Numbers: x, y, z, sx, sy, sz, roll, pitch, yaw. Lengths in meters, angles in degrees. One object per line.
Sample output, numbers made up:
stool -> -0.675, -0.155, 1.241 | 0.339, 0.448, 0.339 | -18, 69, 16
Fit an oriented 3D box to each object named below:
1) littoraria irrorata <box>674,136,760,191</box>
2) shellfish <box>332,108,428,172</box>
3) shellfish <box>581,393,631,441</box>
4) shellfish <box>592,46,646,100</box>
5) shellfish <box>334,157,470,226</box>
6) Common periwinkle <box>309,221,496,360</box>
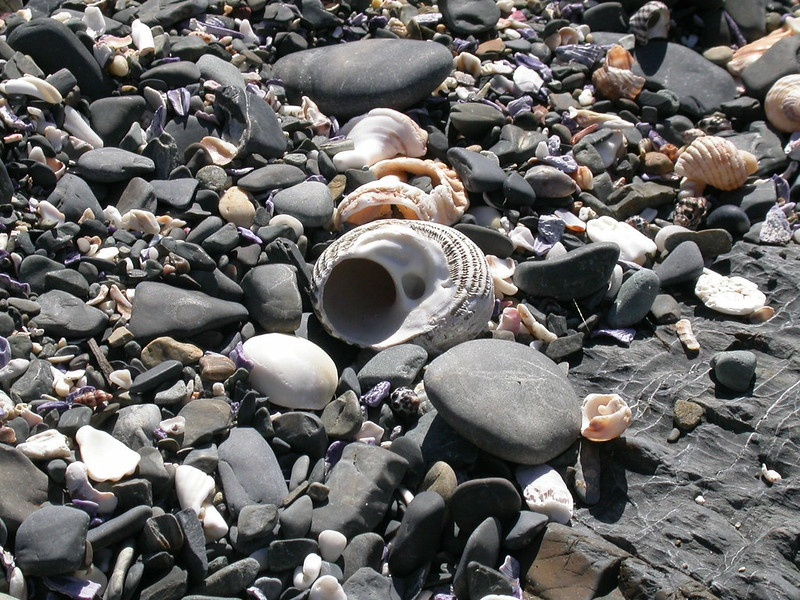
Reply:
littoraria irrorata -> 1.965, -0.831, 5.438 | 0.513, 0.266, 0.227 | 13, 59, 7
shellfish -> -0.109, -0.976, 5.390 | 0.571, 0.409, 0.481 | 16, 34, 34
shellfish -> 1.010, 0.558, 4.401 | 0.272, 0.223, 0.256 | 7, 25, 37
shellfish -> 1.460, -1.510, 5.911 | 0.324, 0.171, 0.387 | 3, 60, 1
shellfish -> 0.016, -0.644, 5.124 | 0.792, 0.335, 0.498 | -2, 60, -1
Common periwinkle -> 0.026, -0.043, 4.741 | 0.979, 0.508, 0.688 | 5, 59, 3
